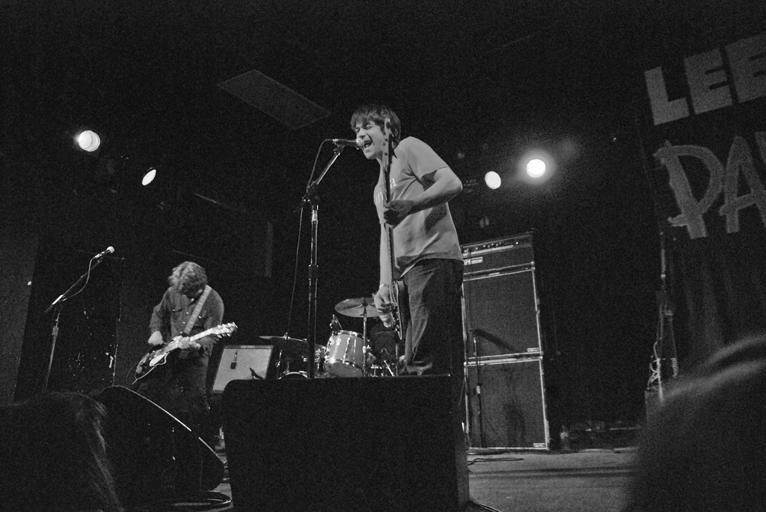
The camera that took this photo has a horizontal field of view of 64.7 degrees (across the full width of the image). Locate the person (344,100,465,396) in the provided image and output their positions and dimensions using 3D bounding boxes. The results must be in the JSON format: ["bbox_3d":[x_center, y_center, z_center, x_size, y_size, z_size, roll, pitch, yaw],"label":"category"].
[{"bbox_3d":[0.169,-0.125,4.053,0.755,2.049,0.640,-5,-18,19],"label":"person"}]

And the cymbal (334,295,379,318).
[{"bbox_3d":[-0.369,0.579,7.990,0.499,0.114,0.493,10,-36,-13],"label":"cymbal"}]

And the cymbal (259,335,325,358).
[{"bbox_3d":[-1.122,1.072,7.179,0.730,0.175,0.744,20,-21,-34],"label":"cymbal"}]

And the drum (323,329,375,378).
[{"bbox_3d":[-0.478,1.200,7.381,0.643,0.494,0.649,0,-2,0],"label":"drum"}]

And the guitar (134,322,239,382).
[{"bbox_3d":[-2.241,1.062,6.769,1.295,0.458,0.182,-22,-54,0],"label":"guitar"}]
